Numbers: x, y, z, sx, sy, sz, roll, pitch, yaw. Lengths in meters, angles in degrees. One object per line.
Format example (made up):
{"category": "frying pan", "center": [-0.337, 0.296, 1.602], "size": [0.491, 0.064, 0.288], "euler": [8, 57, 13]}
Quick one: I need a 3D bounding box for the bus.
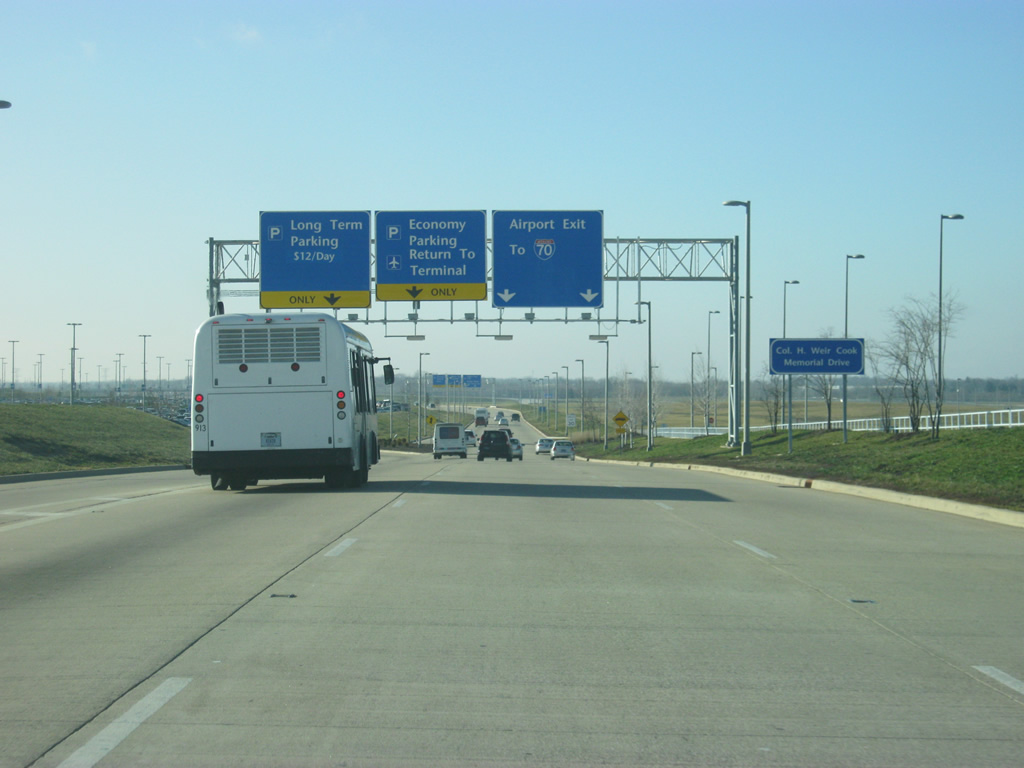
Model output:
{"category": "bus", "center": [-4.647, 0.291, 31.325], "size": [3.491, 3.280, 6.417], "euler": [0, -1, -1]}
